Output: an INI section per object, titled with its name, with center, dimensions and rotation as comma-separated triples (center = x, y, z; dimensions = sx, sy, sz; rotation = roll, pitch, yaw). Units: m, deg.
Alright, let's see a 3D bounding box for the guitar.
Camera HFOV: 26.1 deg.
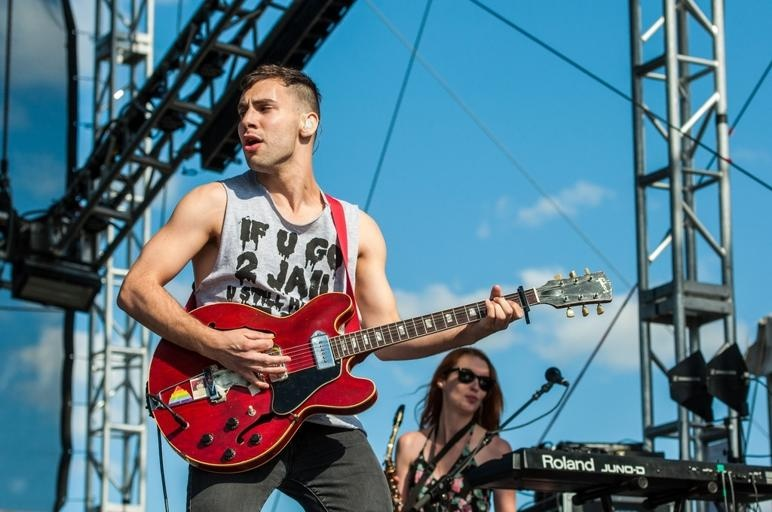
[guitar]
center = -0.058, 0.625, 13.173
dimensions = 3.565, 0.429, 1.271
rotation = -16, -68, 1
